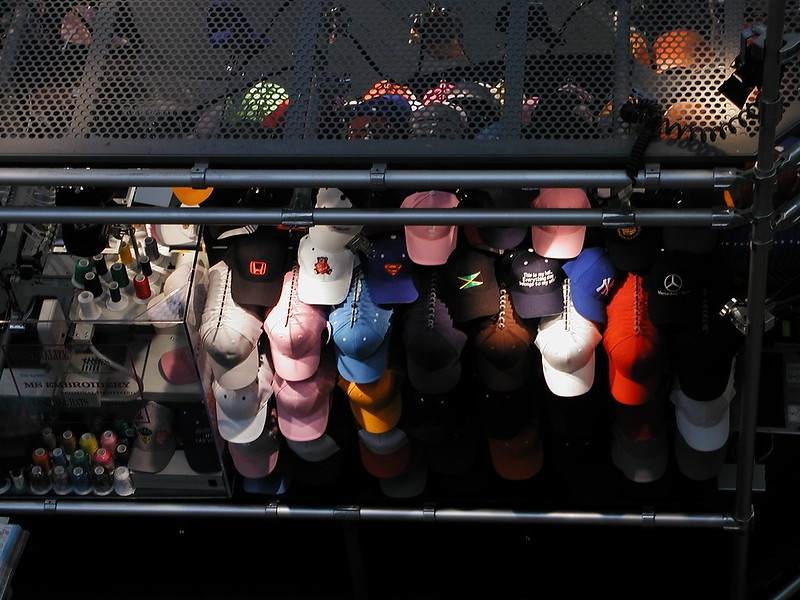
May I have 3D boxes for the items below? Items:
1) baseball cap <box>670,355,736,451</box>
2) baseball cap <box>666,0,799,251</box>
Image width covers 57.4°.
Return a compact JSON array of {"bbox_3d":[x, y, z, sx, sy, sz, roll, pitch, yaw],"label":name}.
[{"bbox_3d":[1.321,0.426,3.183,0.254,0.434,0.151,2,26,15],"label":"baseball cap"},{"bbox_3d":[1.038,-0.584,2.125,0.345,0.514,0.153,0,34,6],"label":"baseball cap"}]
